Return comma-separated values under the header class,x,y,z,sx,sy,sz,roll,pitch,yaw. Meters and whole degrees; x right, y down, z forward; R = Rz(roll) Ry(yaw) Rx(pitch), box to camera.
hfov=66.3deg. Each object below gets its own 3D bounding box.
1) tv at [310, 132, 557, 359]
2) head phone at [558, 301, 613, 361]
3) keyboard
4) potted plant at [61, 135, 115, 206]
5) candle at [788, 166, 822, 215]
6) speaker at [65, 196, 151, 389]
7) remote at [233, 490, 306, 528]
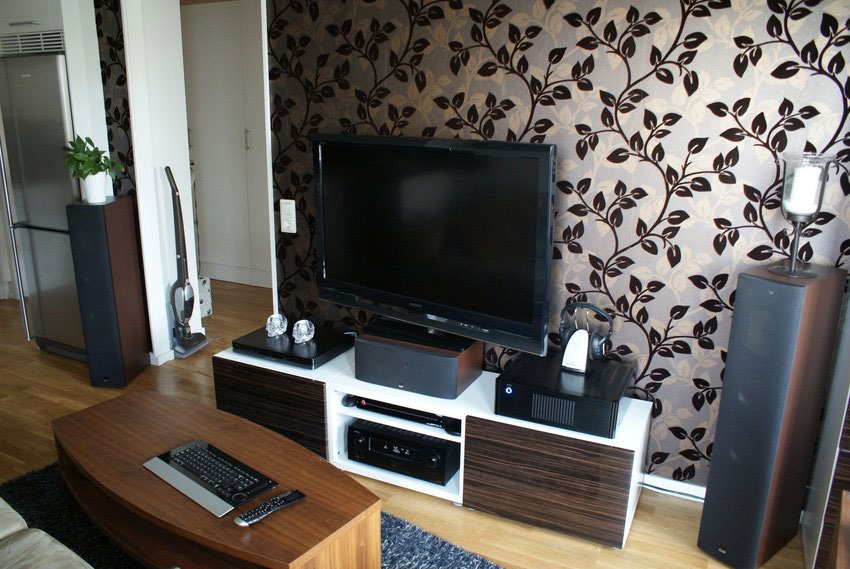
class,x,y,z,sx,sy,sz,roll,pitch,yaw
tv,0.095,-0.241,3.576,1.275,0.919,0.136,8,16,27
head phone,0.888,0.257,3.545,0.248,0.297,0.134,13,27,33
keyboard,-0.961,0.894,3.091,0.530,0.073,0.311,19,21,25
potted plant,-2.340,-0.777,4.485,0.418,0.463,0.323,14,20,40
candle,1.789,-0.447,3.056,0.147,0.230,0.140,16,26,32
speaker,-2.214,0.064,4.573,0.410,1.290,0.401,-7,21,-30
remote,-0.679,0.976,2.879,0.305,0.072,0.109,-23,33,-30
